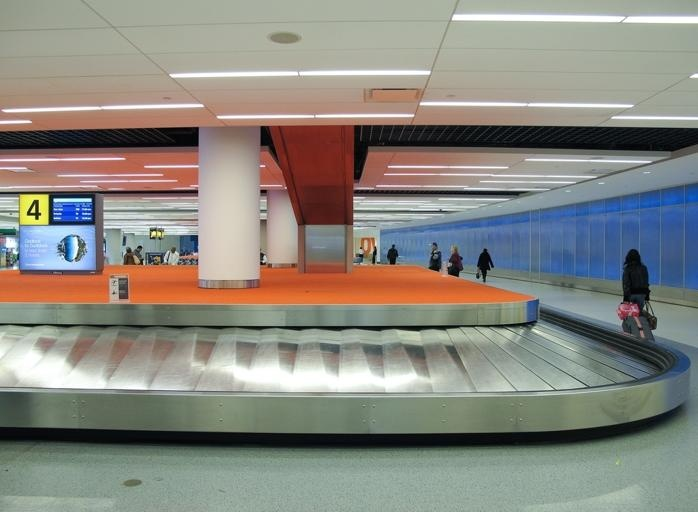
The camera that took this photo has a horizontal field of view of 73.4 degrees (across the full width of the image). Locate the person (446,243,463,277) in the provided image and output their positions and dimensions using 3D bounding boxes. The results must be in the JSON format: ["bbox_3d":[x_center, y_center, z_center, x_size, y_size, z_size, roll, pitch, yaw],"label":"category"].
[{"bbox_3d":[4.377,0.241,19.597,0.591,1.320,2.030,-2,1,12],"label":"person"}]

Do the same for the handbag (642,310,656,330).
[{"bbox_3d":[6.140,1.328,9.613,0.229,0.387,0.448,-1,1,34],"label":"handbag"}]

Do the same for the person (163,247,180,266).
[{"bbox_3d":[-9.421,0.010,24.973,0.454,0.924,3.902,-3,1,-23],"label":"person"}]
